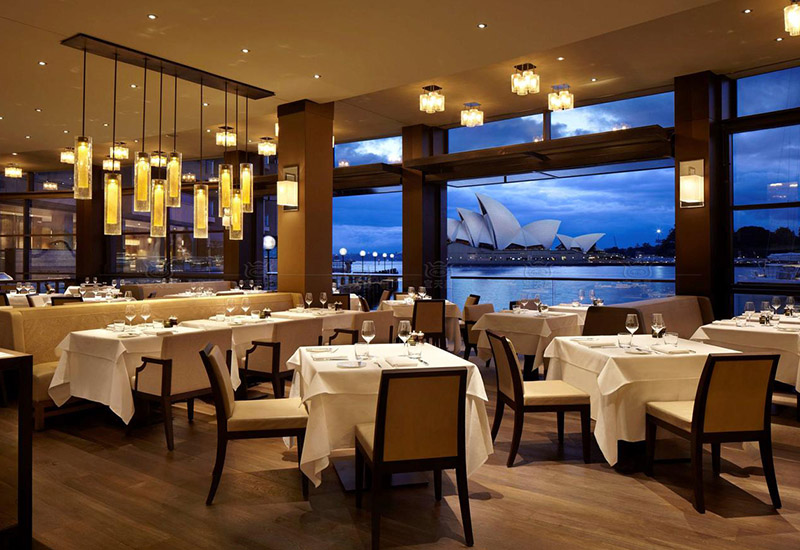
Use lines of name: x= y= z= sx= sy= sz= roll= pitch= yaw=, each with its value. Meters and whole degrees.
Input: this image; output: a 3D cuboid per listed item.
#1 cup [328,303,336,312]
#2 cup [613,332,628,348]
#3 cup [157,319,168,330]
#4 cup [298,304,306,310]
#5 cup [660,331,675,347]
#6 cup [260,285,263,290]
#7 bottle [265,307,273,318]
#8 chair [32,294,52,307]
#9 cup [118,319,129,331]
cup: x=-1.034 y=0.486 z=9.178 sx=0.106 sy=0.093 sz=0.121 roll=0 pitch=-4 yaw=2
cup: x=2.391 y=0.706 z=6.610 sx=0.148 sy=0.107 sz=0.130 roll=-2 pitch=-2 yaw=25
cup: x=-2.904 y=0.603 z=7.401 sx=0.116 sy=0.088 sz=0.104 roll=0 pitch=0 yaw=7
cup: x=-1.590 y=0.507 z=9.833 sx=0.103 sy=0.065 sz=0.103 roll=-1 pitch=-1 yaw=0
cup: x=2.933 y=0.690 z=6.650 sx=0.158 sy=0.177 sz=0.152 roll=3 pitch=-3 yaw=0
cup: x=-2.982 y=0.270 z=13.052 sx=0.073 sy=0.070 sz=0.130 roll=8 pitch=1 yaw=-11
bottle: x=-1.847 y=0.513 z=8.420 sx=0.126 sy=0.161 sz=0.139 roll=1 pitch=5 yaw=-13
chair: x=-6.699 y=0.473 z=11.356 sx=0.198 sy=0.202 sz=0.201 roll=0 pitch=10 yaw=-14
cup: x=-3.327 y=0.600 z=7.292 sx=0.131 sy=0.137 sz=0.123 roll=2 pitch=-4 yaw=0
